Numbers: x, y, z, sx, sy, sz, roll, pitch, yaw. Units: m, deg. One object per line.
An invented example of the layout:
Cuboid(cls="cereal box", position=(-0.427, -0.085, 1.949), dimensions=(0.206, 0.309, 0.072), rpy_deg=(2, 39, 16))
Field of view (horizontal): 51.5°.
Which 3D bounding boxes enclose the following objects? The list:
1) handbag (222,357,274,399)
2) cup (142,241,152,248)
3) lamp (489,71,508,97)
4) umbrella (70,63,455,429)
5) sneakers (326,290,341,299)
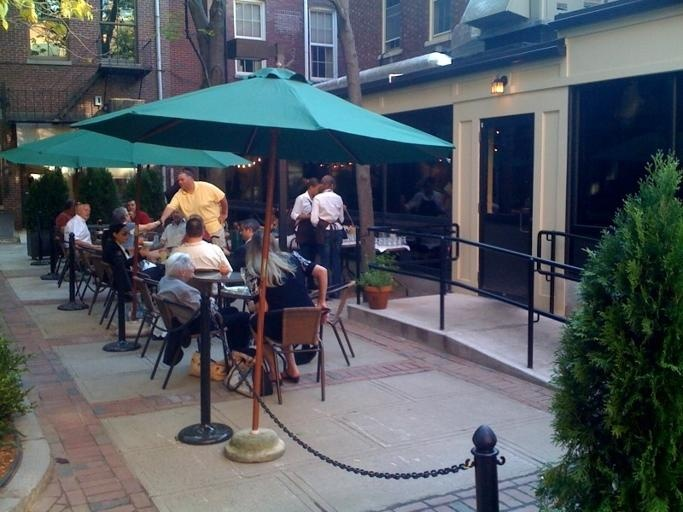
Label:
Cuboid(cls="handbag", position=(-1.028, 1.326, 7.868), dimensions=(0.448, 0.490, 0.407), rpy_deg=(18, 36, 19))
Cuboid(cls="cup", position=(-3.524, -0.216, 12.846), dimensions=(0.145, 0.120, 0.154), rpy_deg=(1, -6, 0))
Cuboid(cls="lamp", position=(2.425, -2.653, 11.017), dimensions=(0.194, 0.301, 0.344), rpy_deg=(-4, 12, -23))
Cuboid(cls="umbrella", position=(-0.632, -0.945, 6.663), dimensions=(3.111, 1.605, 2.042), rpy_deg=(2, 11, 6))
Cuboid(cls="sneakers", position=(-0.108, 0.700, 12.873), dimensions=(0.226, 0.128, 0.330), rpy_deg=(-4, -9, -7))
